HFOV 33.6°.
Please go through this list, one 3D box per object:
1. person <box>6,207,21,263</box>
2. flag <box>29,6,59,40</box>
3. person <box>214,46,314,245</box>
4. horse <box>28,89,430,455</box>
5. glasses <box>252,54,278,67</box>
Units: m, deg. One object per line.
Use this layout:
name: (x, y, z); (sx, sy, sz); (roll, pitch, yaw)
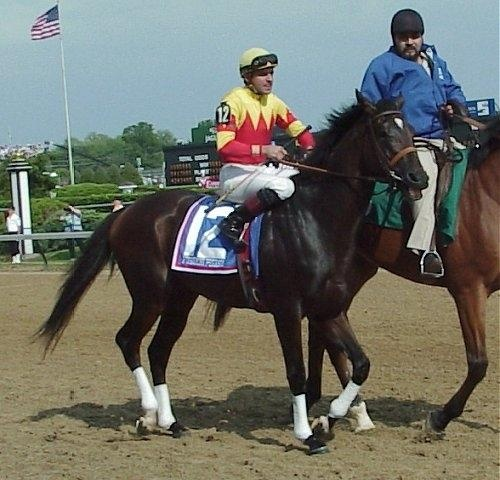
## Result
person: (-5.438, -0.068, 19.150); (0.325, 1.245, 1.682); (-2, 5, -15)
flag: (-7.663, -8.186, 31.188); (1.072, 1.285, 0.642); (-3, 5, -25)
person: (0.132, -0.602, 5.423); (0.702, 1.237, 0.631); (-2, 12, 7)
horse: (-0.172, 0.288, 5.643); (3.309, 2.264, 0.689); (1, -6, 39)
glasses: (0.094, -1.149, 5.287); (0.160, 0.090, 0.175); (-1, 5, -3)
